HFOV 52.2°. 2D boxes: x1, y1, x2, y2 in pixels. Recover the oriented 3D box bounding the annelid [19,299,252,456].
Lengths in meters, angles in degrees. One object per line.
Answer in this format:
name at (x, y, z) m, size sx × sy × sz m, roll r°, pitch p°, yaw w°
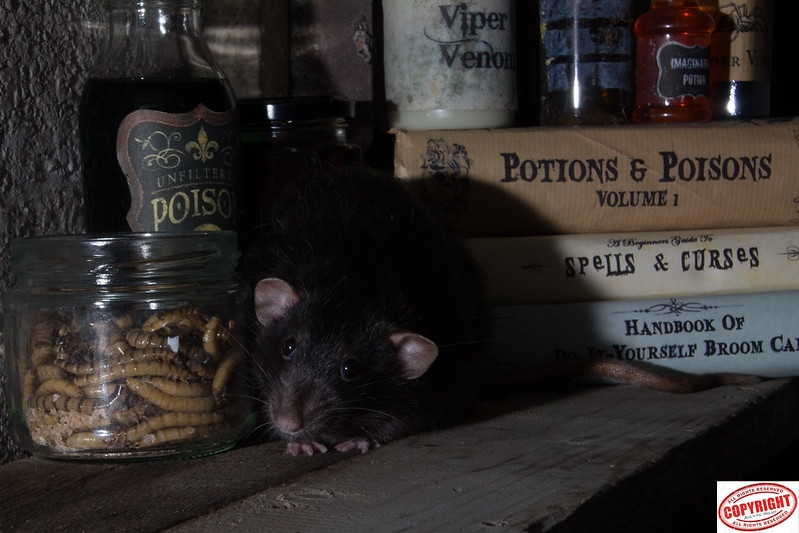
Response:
annelid at (-0.375, 0.156, 1.124) m, size 0.240 × 0.166 × 0.232 m, roll 0°, pitch -9°, yaw -1°
